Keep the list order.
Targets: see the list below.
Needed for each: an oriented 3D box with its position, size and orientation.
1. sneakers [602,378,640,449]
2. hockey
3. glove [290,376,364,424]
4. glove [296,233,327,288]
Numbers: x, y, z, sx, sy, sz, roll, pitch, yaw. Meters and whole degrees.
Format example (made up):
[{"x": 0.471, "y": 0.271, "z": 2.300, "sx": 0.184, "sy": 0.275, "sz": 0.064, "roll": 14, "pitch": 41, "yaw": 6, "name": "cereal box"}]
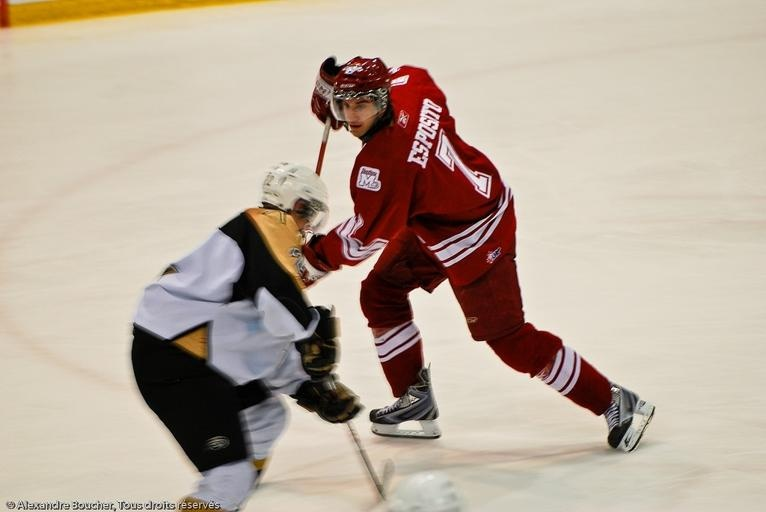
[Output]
[{"x": 1.200, "y": 0.790, "z": 4.566, "sx": 0.167, "sy": 0.315, "sz": 0.118, "roll": 15, "pitch": -21, "yaw": -3, "name": "sneakers"}, {"x": -0.141, "y": 0.936, "z": 4.572, "sx": 0.129, "sy": 0.719, "sz": 0.086, "roll": -41, "pitch": -8, "yaw": 16, "name": "hockey"}, {"x": -0.274, "y": 0.641, "z": 4.187, "sx": 0.193, "sy": 0.298, "sz": 0.128, "roll": -56, "pitch": 2, "yaw": -10, "name": "glove"}, {"x": -0.380, "y": 0.025, "z": 4.509, "sx": 0.146, "sy": 0.223, "sz": 0.181, "roll": 13, "pitch": 9, "yaw": -16, "name": "glove"}]
